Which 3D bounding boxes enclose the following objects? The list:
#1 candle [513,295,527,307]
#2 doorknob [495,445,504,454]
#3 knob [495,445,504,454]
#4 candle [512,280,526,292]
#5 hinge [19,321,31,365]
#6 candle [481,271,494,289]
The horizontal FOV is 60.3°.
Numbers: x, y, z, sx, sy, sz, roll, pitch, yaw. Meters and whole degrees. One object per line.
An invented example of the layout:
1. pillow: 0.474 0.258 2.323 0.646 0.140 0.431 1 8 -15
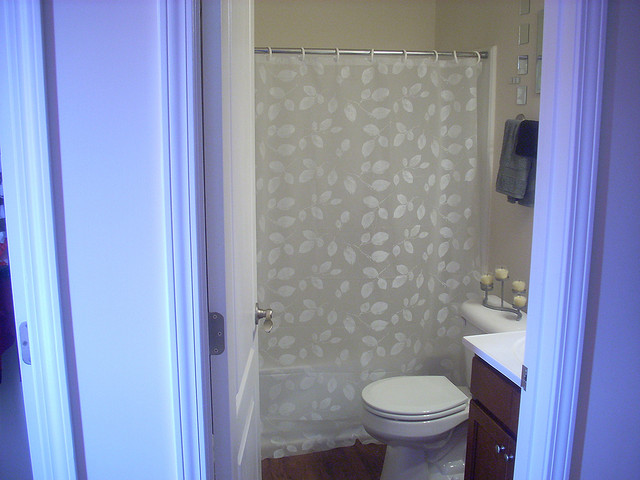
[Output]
1. candle: 0.897 0.277 2.470 0.040 0.046 0.044 -5 -4 3
2. doorknob: 0.657 0.771 2.016 0.027 0.018 0.021 -3 16 -13
3. knob: 0.657 0.771 2.016 0.027 0.018 0.021 -5 29 -4
4. candle: 0.917 0.207 2.518 0.043 0.049 0.049 1 23 16
5. hinge: -0.777 0.273 1.450 0.039 0.098 0.021 -3 7 -17
6. candle: 0.846 0.196 2.733 0.068 0.092 0.075 1 6 2
